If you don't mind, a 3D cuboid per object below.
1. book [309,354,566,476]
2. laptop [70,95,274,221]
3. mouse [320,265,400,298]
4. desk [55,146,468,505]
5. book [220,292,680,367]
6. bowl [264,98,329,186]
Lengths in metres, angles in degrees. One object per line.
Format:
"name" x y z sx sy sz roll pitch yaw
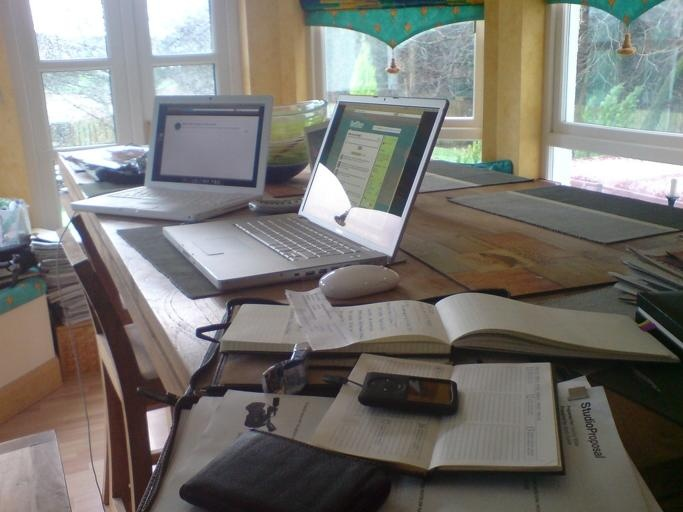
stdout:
"book" 0.105 0.156 0.542 0.232 0.031 0.177 4 21 16
"laptop" -0.422 -0.275 1.448 0.556 0.337 0.416 9 17 26
"mouse" 0.029 0.029 0.824 0.103 0.031 0.055 -9 24 -22
"desk" -0.164 0.213 1.062 0.434 0.368 0.773 -13 32 -22
"book" 0.131 0.087 0.703 0.565 0.047 0.178 -1 20 3
"bowl" -0.120 -0.384 1.769 0.277 0.188 0.292 -8 10 1
